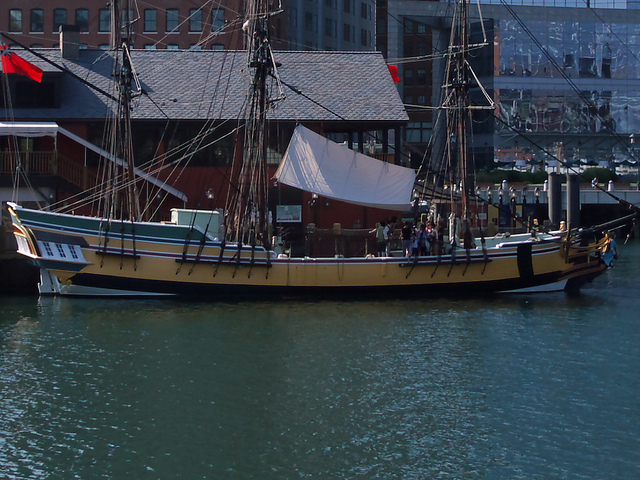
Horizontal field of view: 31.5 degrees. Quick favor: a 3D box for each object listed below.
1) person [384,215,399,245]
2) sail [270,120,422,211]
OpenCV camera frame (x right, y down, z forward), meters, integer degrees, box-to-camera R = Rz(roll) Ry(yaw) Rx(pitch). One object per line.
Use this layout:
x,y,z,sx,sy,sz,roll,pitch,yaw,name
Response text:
3.828,-0.455,61.227,0.498,1.749,0.374,11,30,0,person
1.126,-3.841,57.581,7.843,3.085,2.460,12,19,-28,sail
